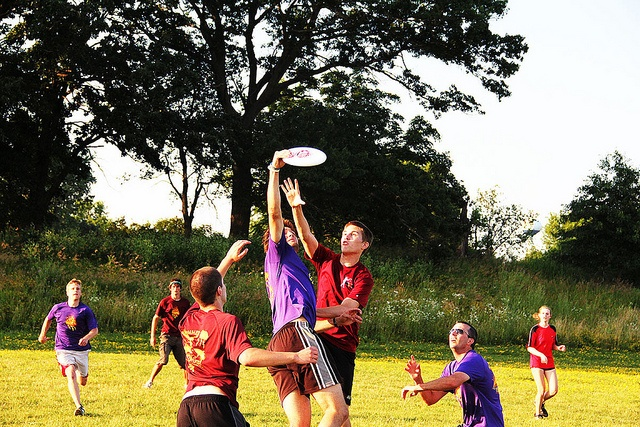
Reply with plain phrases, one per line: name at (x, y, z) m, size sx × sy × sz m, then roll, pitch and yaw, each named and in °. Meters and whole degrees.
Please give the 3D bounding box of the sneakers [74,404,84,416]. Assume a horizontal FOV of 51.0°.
sneakers at (-7.154, 5.848, 19.925) m, size 0.209 × 0.283 × 0.301 m, roll 0°, pitch -41°, yaw -13°

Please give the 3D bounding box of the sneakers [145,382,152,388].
sneakers at (-5.681, 5.659, 22.177) m, size 0.189 × 0.230 × 0.161 m, roll -9°, pitch -10°, yaw 18°
